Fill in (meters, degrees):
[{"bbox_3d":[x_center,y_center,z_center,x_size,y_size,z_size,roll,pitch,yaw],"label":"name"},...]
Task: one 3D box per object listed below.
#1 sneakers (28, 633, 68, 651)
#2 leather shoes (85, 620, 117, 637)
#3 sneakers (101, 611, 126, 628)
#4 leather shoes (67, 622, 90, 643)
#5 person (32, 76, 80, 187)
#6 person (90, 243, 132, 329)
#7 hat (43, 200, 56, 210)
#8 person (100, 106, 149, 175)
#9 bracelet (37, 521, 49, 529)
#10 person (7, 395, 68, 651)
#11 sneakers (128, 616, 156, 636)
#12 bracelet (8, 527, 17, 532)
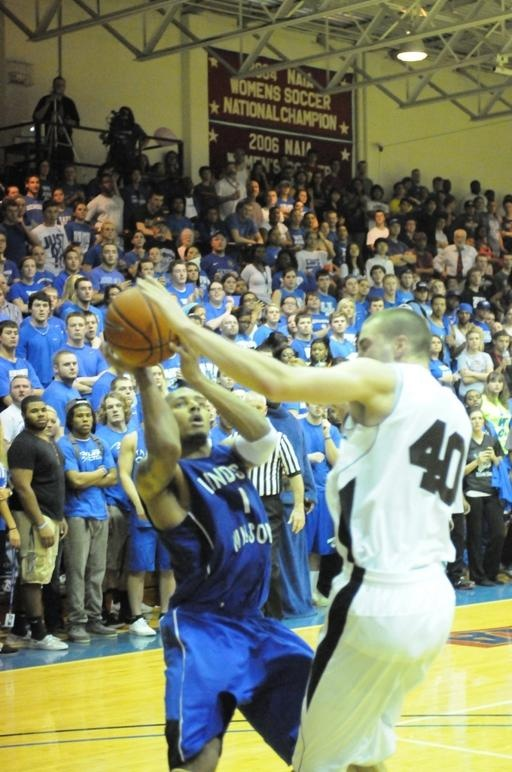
[{"bbox_3d":[-1.521,1.870,5.877,0.269,0.114,0.112,2,-5,6],"label":"sneakers"},{"bbox_3d":[-1.179,1.887,6.259,0.284,0.113,0.096,3,-3,6],"label":"leather shoes"},{"bbox_3d":[-1.179,1.945,6.611,0.239,0.160,0.078,7,14,2],"label":"sneakers"},{"bbox_3d":[-1.347,1.875,6.066,0.128,0.118,0.135,0,-3,-24],"label":"leather shoes"},{"bbox_3d":[-2.961,-3.905,12.331,0.703,1.607,0.630,-11,19,-34],"label":"person"},{"bbox_3d":[-1.727,-1.100,9.421,0.474,1.093,0.406,-3,9,-38],"label":"person"},{"bbox_3d":[-2.599,-2.287,10.058,0.158,0.153,0.125,2,6,-19],"label":"hat"},{"bbox_3d":[-2.042,-3.668,12.287,0.611,1.257,0.400,9,35,-5],"label":"person"},{"bbox_3d":[-1.560,1.011,5.847,0.015,0.055,0.058,35,-20,-9],"label":"bracelet"},{"bbox_3d":[-1.637,1.006,6.005,0.409,1.860,0.496,-1,-3,-13],"label":"person"},{"bbox_3d":[-0.900,1.908,6.328,0.093,0.102,0.245,5,-8,-42],"label":"sneakers"},{"bbox_3d":[-1.757,1.039,5.788,0.055,0.021,0.037,0,-4,-34],"label":"bracelet"}]
